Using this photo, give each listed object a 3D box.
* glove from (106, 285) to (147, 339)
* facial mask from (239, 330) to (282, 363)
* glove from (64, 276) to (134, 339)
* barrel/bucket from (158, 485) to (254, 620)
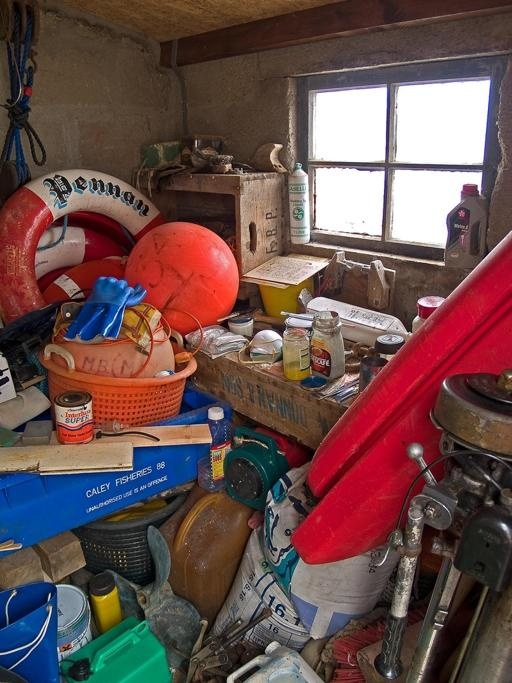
[{"bbox_3d":[-0.460,-0.108,1.836,0.124,0.177,0.052,7,-14,-11],"label":"glove"},{"bbox_3d":[0.024,0.024,2.151,0.157,0.079,0.108,-5,4,7],"label":"facial mask"},{"bbox_3d":[-0.553,-0.112,1.836,0.182,0.189,0.194,5,18,11],"label":"glove"},{"bbox_3d":[-0.160,0.721,1.756,0.242,0.436,0.267,27,37,30],"label":"barrel/bucket"}]
